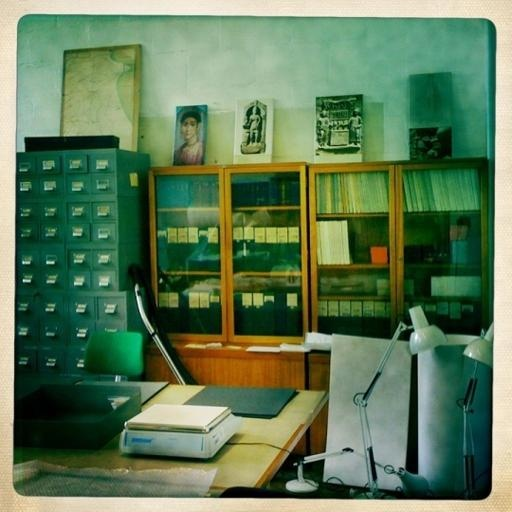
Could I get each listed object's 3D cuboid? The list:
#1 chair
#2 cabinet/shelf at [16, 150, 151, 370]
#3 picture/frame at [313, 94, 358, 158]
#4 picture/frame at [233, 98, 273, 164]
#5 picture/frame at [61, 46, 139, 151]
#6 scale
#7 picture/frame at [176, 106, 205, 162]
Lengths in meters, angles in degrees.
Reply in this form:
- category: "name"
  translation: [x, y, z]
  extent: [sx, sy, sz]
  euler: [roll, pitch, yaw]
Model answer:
- category: "chair"
  translation: [-0.751, 0.536, 3.199]
  extent: [0.302, 0.231, 0.168]
  euler: [5, -14, -27]
- category: "cabinet/shelf"
  translation: [-1.095, 0.035, 3.520]
  extent: [0.586, 1.398, 0.416]
  euler: [-2, -13, -5]
- category: "picture/frame"
  translation: [0.444, -0.708, 3.262]
  extent: [0.252, 0.384, 0.035]
  euler: [2, -18, 6]
- category: "picture/frame"
  translation: [-0.014, -0.726, 3.384]
  extent: [0.202, 0.391, 0.026]
  euler: [1, -18, 3]
- category: "picture/frame"
  translation: [-0.846, -0.879, 3.209]
  extent: [0.393, 0.622, 0.014]
  euler: [-2, -25, -7]
- category: "scale"
  translation: [-0.290, 0.675, 2.362]
  extent: [0.432, 0.140, 0.326]
  euler: [5, 14, 10]
- category: "picture/frame"
  translation: [-0.379, -0.717, 3.420]
  extent: [0.206, 0.439, 0.042]
  euler: [3, 8, 7]
